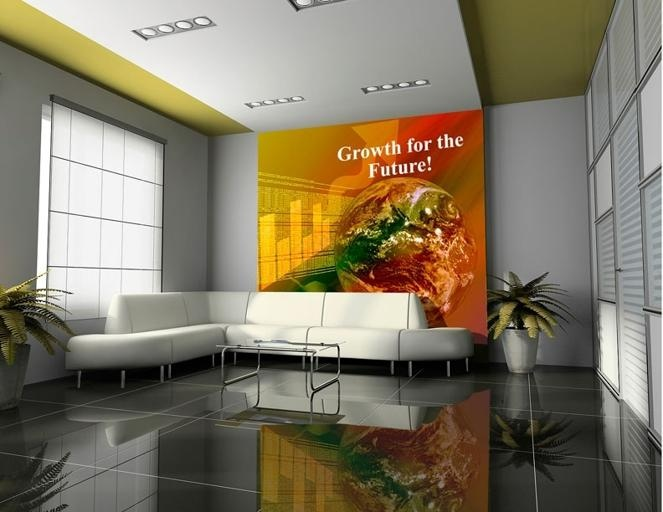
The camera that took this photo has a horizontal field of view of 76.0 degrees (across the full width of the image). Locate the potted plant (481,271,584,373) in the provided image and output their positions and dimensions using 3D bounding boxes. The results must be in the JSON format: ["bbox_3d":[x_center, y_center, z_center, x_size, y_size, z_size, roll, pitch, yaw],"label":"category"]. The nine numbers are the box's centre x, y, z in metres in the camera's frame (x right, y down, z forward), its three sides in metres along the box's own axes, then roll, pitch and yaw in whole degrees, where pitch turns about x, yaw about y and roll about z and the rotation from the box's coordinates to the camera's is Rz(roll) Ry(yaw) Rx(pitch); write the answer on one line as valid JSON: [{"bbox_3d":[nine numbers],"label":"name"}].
[{"bbox_3d":[2.470,0.778,5.539,1.342,1.280,1.265,4,-4,-17],"label":"potted plant"}]
